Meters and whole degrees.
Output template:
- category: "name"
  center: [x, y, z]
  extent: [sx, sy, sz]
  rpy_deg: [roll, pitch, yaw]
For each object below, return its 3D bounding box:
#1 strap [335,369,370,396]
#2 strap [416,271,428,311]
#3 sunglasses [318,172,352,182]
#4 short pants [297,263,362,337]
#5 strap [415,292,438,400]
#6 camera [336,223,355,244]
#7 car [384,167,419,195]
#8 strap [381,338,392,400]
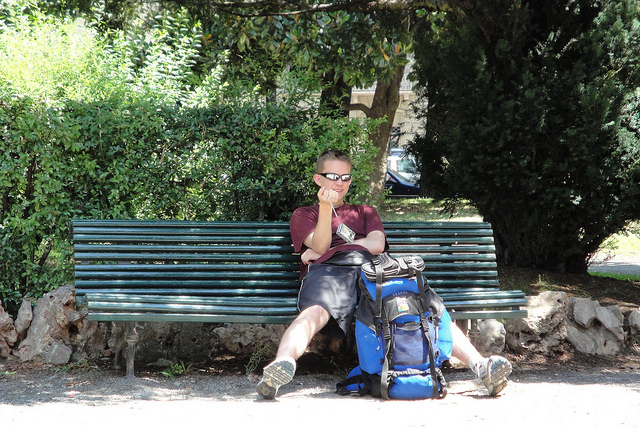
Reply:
- category: "strap"
  center: [0.297, 1.513, 5.255]
  extent: [0.290, 0.106, 0.297]
  rpy_deg: [-15, 16, 48]
- category: "strap"
  center: [0.884, 0.689, 5.074]
  extent: [0.048, 0.325, 0.115]
  rpy_deg: [-12, -12, -13]
- category: "sunglasses"
  center: [0.138, -0.372, 5.694]
  extent: [0.323, 0.088, 0.121]
  rpy_deg: [3, 4, -3]
- category: "short pants"
  center: [0.129, 0.657, 5.432]
  extent: [0.576, 0.333, 0.968]
  rpy_deg: [6, 31, 7]
- category: "strap"
  center: [0.887, 1.164, 4.987]
  extent: [0.093, 1.147, 0.174]
  rpy_deg: [4, -16, -28]
- category: "camera"
  center: [0.245, 0.183, 5.614]
  extent: [0.173, 0.185, 0.167]
  rpy_deg: [3, 4, 2]
- category: "car"
  center: [3.042, -1.276, 21.817]
  extent: [1.089, 1.023, 3.189]
  rpy_deg: [3, 4, 7]
- category: "strap"
  center: [0.567, 1.332, 4.955]
  extent: [0.078, 0.527, 0.069]
  rpy_deg: [3, 5, 6]
